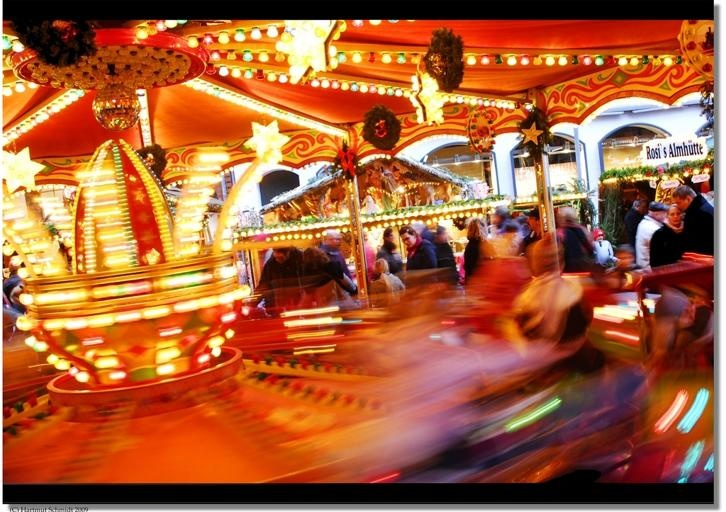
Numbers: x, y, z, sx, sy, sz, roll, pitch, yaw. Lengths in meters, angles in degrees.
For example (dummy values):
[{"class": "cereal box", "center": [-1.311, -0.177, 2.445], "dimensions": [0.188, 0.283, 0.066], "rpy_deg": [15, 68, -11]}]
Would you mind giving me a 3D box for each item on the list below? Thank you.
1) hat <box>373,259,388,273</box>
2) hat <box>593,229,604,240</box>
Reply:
[{"class": "hat", "center": [0.198, 0.128, 5.630], "dimensions": [0.116, 0.154, 0.157], "rpy_deg": [2, -21, 12]}, {"class": "hat", "center": [4.341, -0.383, 9.172], "dimensions": [0.189, 0.191, 0.225], "rpy_deg": [3, 6, 27]}]
